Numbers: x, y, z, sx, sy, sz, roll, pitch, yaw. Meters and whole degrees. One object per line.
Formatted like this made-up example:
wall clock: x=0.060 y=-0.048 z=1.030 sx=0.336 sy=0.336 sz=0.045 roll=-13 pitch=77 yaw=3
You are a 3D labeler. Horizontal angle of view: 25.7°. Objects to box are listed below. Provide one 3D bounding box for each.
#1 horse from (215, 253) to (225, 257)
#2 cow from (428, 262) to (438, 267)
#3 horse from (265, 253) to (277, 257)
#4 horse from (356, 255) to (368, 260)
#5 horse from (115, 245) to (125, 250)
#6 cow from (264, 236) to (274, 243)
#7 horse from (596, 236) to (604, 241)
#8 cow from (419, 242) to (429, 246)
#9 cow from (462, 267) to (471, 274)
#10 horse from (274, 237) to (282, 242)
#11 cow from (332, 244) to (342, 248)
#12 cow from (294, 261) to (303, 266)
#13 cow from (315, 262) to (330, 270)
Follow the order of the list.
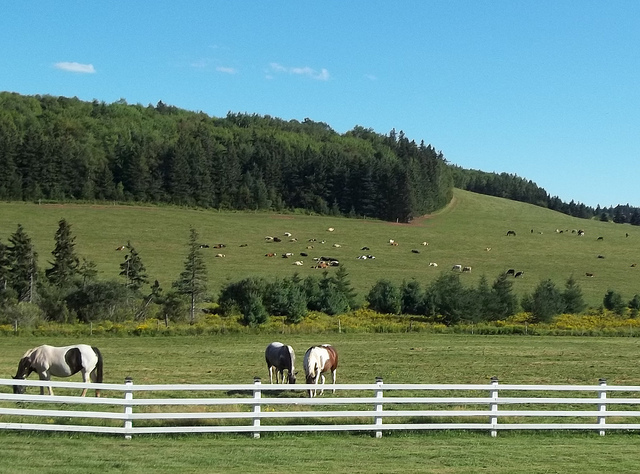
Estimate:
horse: x=-16.393 y=2.315 z=228.540 sx=1.234 sy=0.393 sz=1.985 roll=2 pitch=1 yaw=6
cow: x=18.422 y=3.900 z=231.674 sx=1.438 sy=0.812 sz=0.421 roll=-1 pitch=1 yaw=41
horse: x=-8.325 y=2.320 z=231.607 sx=1.919 sy=0.790 sz=0.567 roll=-3 pitch=0 yaw=-3
horse: x=6.968 y=2.771 z=233.756 sx=1.556 sy=0.608 sz=1.852 roll=2 pitch=1 yaw=3
horse: x=-32.544 y=1.241 z=226.486 sx=1.349 sy=0.553 sz=1.932 roll=2 pitch=1 yaw=-7
cow: x=-9.113 y=-0.402 z=244.710 sx=1.636 sy=0.846 sz=3.082 roll=2 pitch=1 yaw=-3
horse: x=53.301 y=-0.524 z=267.520 sx=0.573 sy=1.396 sz=2.505 roll=6 pitch=9 yaw=35
cow: x=18.648 y=0.450 z=251.368 sx=1.332 sy=0.595 sz=4.308 roll=2 pitch=1 yaw=5
cow: x=23.774 y=4.755 z=228.836 sx=1.339 sy=0.968 sz=2.409 roll=2 pitch=1 yaw=6
horse: x=-7.537 y=-0.327 z=244.923 sx=1.369 sy=0.626 sz=2.161 roll=2 pitch=1 yaw=-5
cow: x=2.852 y=0.815 z=243.629 sx=0.428 sy=0.857 sz=1.682 roll=-6 pitch=-12 yaw=40
cow: x=-3.659 y=3.708 z=226.086 sx=1.309 sy=0.576 sz=2.402 roll=2 pitch=1 yaw=2
cow: x=0.144 y=4.047 z=224.800 sx=1.740 sy=0.960 sz=4.568 roll=2 pitch=1 yaw=14
